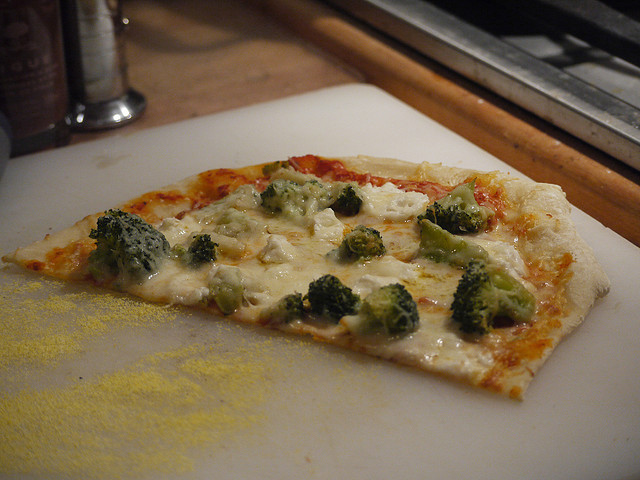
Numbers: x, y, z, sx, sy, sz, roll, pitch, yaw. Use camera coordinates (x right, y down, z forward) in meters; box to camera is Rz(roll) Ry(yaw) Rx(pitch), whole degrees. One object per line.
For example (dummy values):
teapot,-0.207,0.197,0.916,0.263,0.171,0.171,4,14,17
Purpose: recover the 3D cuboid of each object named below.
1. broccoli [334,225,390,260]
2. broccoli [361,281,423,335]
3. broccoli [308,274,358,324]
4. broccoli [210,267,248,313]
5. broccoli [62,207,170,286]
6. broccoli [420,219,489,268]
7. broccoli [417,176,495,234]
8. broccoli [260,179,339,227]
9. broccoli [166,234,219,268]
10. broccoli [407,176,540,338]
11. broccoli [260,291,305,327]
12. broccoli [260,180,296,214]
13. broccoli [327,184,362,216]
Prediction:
broccoli,0.135,-0.014,2.115,0.132,0.048,0.145,-8,15,-6
broccoli,0.235,0.213,1.941,0.154,0.072,0.174,7,44,8
broccoli,0.033,0.183,1.923,0.139,0.067,0.156,-29,96,3
broccoli,-0.297,0.166,1.995,0.127,0.041,0.137,-30,77,-6
broccoli,-0.684,0.044,2.089,0.252,0.135,0.336,23,71,8
broccoli,0.457,0.023,2.096,0.205,0.094,0.143,25,90,23
broccoli,0.500,-0.104,2.181,0.192,0.086,0.252,0,38,11
broccoli,-0.100,-0.116,2.434,0.326,0.350,0.103,-13,63,-11
broccoli,-0.445,0.039,2.122,0.133,0.043,0.115,-12,59,-27
broccoli,0.559,0.144,2.046,0.378,0.125,0.675,-14,35,11
broccoli,-0.118,0.223,1.960,0.121,0.055,0.094,-11,31,11
broccoli,-0.156,-0.181,2.328,0.122,0.052,0.130,16,54,28
broccoli,0.102,-0.138,2.289,0.131,0.052,0.099,-37,63,1
